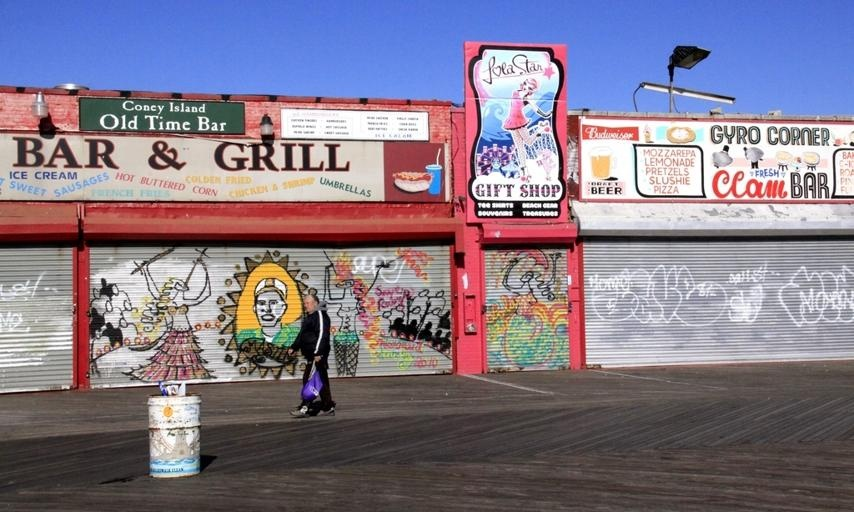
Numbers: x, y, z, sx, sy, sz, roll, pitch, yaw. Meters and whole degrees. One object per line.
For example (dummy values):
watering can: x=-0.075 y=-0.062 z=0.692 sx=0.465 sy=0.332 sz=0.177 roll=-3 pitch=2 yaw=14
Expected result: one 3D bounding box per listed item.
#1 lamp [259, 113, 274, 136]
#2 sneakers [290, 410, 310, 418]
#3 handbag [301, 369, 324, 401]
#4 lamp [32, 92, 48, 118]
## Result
lamp: x=-4.175 y=-3.391 z=27.182 sx=0.350 sy=0.587 sz=0.335 roll=-3 pitch=10 yaw=-9
sneakers: x=-2.731 y=3.386 z=22.376 sx=0.435 sy=0.143 sz=0.137 roll=1 pitch=-8 yaw=-3
handbag: x=-2.522 y=2.781 z=22.474 sx=0.466 sy=0.607 sz=0.271 roll=23 pitch=-11 yaw=-35
lamp: x=-9.738 y=-3.780 z=26.244 sx=0.368 sy=0.649 sz=0.428 roll=-4 pitch=11 yaw=-15
